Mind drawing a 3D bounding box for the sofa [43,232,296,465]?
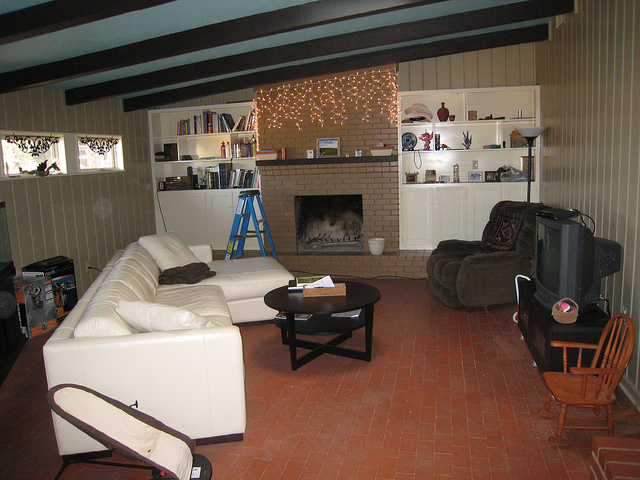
[{"bbox_3d":[-1.193,0.764,3.568,1.531,0.776,2.273,-4,15,-13],"label":"sofa"}]

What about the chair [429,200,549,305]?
[{"bbox_3d":[2.070,0.128,5.937,1.301,1.164,1.356,-2,8,10],"label":"chair"}]

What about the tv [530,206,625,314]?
[{"bbox_3d":[2.231,0.153,4.134,0.592,0.817,0.827,-3,11,8],"label":"tv"}]

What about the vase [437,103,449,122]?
[{"bbox_3d":[1.812,-1.868,6.986,0.138,0.275,0.197,5,14,34],"label":"vase"}]

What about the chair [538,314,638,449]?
[{"bbox_3d":[1.888,0.926,3.368,0.604,0.905,0.767,0,12,15],"label":"chair"}]

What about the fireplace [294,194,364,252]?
[{"bbox_3d":[0.170,-0.300,7.801,0.863,0.770,0.293,0,5,6],"label":"fireplace"}]

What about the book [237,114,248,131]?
[{"bbox_3d":[-1.284,-1.924,7.845,0.049,0.206,0.202,10,-4,-20],"label":"book"}]

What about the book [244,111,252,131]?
[{"bbox_3d":[-1.181,-1.948,7.804,0.128,0.307,0.132,-11,14,-32],"label":"book"}]

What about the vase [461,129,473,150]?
[{"bbox_3d":[2.196,-1.507,7.115,0.159,0.269,0.235,1,13,20],"label":"vase"}]

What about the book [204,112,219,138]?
[{"bbox_3d":[-1.764,-1.958,8.143,0.304,0.423,0.419,-1,17,0],"label":"book"}]

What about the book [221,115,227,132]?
[{"bbox_3d":[-1.592,-1.934,7.897,0.042,0.187,0.174,-7,13,-27],"label":"book"}]

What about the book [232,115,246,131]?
[{"bbox_3d":[-1.353,-1.956,7.898,0.069,0.268,0.262,29,-17,-33],"label":"book"}]

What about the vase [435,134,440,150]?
[{"bbox_3d":[1.738,-1.443,7.034,0.068,0.210,0.115,0,13,17],"label":"vase"}]

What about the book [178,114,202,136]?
[{"bbox_3d":[-2.203,-1.949,8.108,0.452,0.308,0.117,0,13,17],"label":"book"}]

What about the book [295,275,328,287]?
[{"bbox_3d":[-0.116,0.402,4.802,0.271,0.063,0.285,-4,12,-4],"label":"book"}]

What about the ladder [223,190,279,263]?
[{"bbox_3d":[-1.010,-0.170,7.003,0.653,1.100,0.652,0,11,6],"label":"ladder"}]

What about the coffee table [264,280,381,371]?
[{"bbox_3d":[0.024,0.833,4.667,1.096,0.626,1.066,-8,10,-38],"label":"coffee table"}]
